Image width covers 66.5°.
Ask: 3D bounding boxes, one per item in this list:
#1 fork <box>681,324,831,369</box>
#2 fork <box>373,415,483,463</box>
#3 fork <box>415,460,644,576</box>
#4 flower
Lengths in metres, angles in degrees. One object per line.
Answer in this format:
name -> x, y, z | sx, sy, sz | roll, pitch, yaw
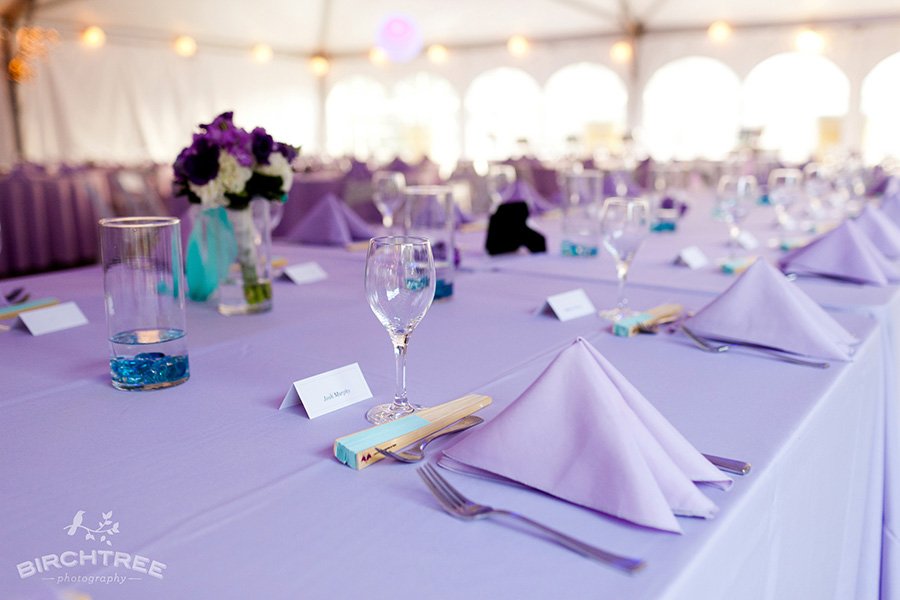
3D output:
fork -> 0.687, 0.103, 1.554 | 0.329, 0.062, 0.041 | 9, 43, 46
fork -> -0.016, 0.223, 1.220 | 0.060, 0.052, 0.289 | 17, 16, 35
fork -> 0.127, 0.327, 1.010 | 0.328, 0.062, 0.051 | 16, 18, 36
flower -> -0.636, -0.254, 1.932 | 0.383, 0.541, 0.385 | 9, 18, 35
